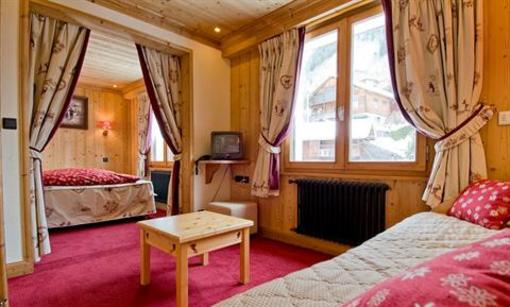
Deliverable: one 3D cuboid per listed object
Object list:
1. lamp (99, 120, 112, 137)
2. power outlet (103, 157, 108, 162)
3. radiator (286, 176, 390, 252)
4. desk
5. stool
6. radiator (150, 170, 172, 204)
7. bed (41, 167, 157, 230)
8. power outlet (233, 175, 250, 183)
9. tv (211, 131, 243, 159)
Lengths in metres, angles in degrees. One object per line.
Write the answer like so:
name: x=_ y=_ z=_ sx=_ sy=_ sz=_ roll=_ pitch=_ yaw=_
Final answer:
lamp: x=-3.614 y=-0.585 z=8.198 sx=0.325 sy=0.506 sz=0.336 roll=-3 pitch=11 yaw=-26
power outlet: x=-3.648 y=0.154 z=8.257 sx=0.107 sy=0.100 sz=0.025 roll=0 pitch=4 yaw=-41
radiator: x=1.199 y=0.829 z=4.696 sx=1.071 sy=0.708 sz=0.173 roll=1 pitch=0 yaw=33
desk: x=-0.708 y=1.118 z=4.225 sx=1.083 sy=0.807 sz=1.067 roll=2 pitch=-2 yaw=-43
stool: x=-0.338 y=0.921 z=5.455 sx=0.594 sy=0.466 sz=0.585 roll=-1 pitch=1 yaw=-35
radiator: x=-1.944 y=0.711 z=7.063 sx=0.727 sy=0.748 sz=0.108 roll=0 pitch=1 yaw=43
bed: x=-2.838 y=0.762 z=5.983 sx=1.223 sy=0.569 sz=1.204 roll=2 pitch=-2 yaw=-40
power outlet: x=-0.226 y=0.451 z=5.899 sx=0.267 sy=0.122 sz=0.021 roll=6 pitch=0 yaw=32
tv: x=-0.481 y=-0.065 z=5.862 sx=0.553 sy=0.479 sz=0.520 roll=-1 pitch=-16 yaw=-4
